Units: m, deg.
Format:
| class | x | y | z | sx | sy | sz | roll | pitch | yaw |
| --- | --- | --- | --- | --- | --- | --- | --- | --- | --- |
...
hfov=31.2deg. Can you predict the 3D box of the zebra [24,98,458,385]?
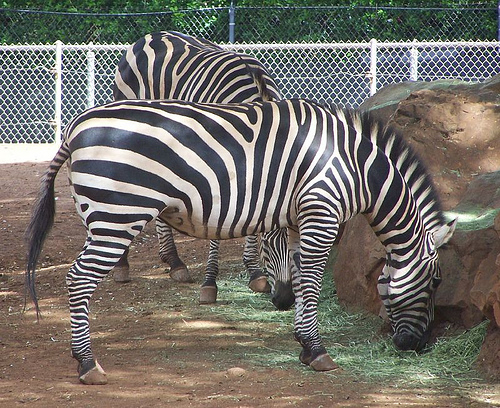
| class | x | y | z | sx | sy | sz | roll | pitch | yaw |
| --- | --- | --- | --- | --- | --- | --- | --- | --- | --- |
| zebra | 0.073 | 0.243 | 6.723 | 2.826 | 1.970 | 0.721 | -1 | 15 | -10 |
